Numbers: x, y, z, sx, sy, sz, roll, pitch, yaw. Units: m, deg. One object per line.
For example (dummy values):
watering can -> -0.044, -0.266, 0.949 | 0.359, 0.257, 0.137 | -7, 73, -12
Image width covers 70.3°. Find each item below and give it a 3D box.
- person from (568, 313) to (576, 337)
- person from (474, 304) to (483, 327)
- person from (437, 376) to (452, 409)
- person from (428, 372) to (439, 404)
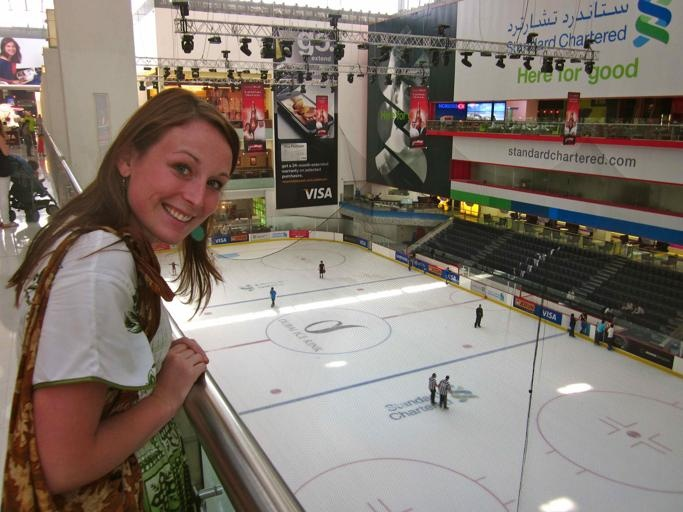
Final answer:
person -> 10.134, 2.986, 21.317 | 0.302, 0.946, 0.548 | 8, 16, 27
person -> 6.246, 2.587, 22.091 | 0.366, 0.943, 1.407 | 5, 15, 16
person -> 3.255, 4.275, 15.466 | 0.288, 1.072, 0.475 | 5, 14, 18
person -> 3.005, 4.200, 15.898 | 0.231, 1.164, 0.833 | 4, 14, 15
